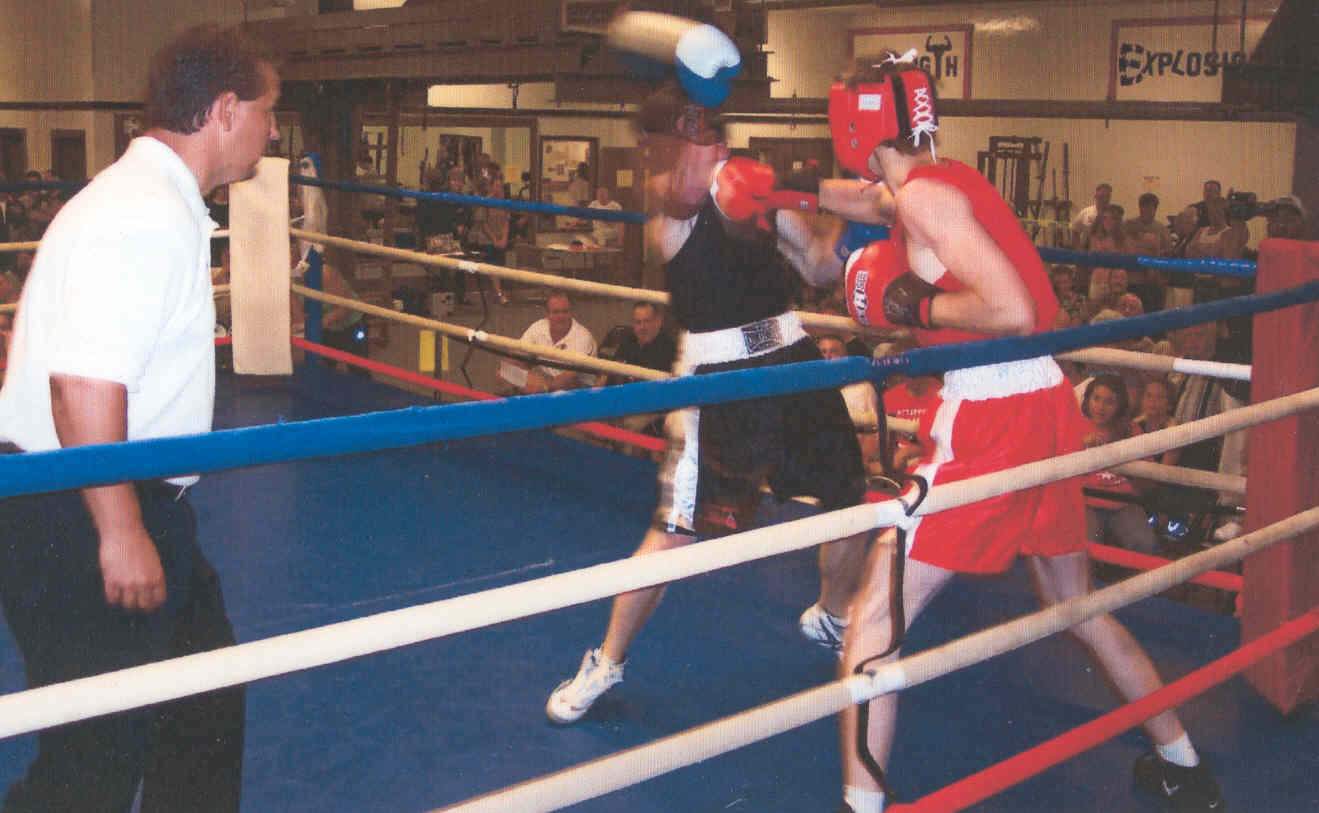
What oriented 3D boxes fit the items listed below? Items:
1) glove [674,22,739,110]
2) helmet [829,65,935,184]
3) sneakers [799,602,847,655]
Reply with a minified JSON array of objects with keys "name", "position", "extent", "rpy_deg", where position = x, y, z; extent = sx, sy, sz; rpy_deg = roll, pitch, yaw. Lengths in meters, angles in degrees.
[{"name":"glove","position":[0.101,-0.730,2.245],"extent":[0.094,0.125,0.169],"rpy_deg":[0,31,-34]},{"name":"helmet","position":[0.498,-0.632,2.352],"extent":[0.236,0.228,0.185],"rpy_deg":[-19,-6,37]},{"name":"sneakers","position":[0.430,0.580,2.756],"extent":[0.125,0.089,0.053],"rpy_deg":[32,36,29]}]
